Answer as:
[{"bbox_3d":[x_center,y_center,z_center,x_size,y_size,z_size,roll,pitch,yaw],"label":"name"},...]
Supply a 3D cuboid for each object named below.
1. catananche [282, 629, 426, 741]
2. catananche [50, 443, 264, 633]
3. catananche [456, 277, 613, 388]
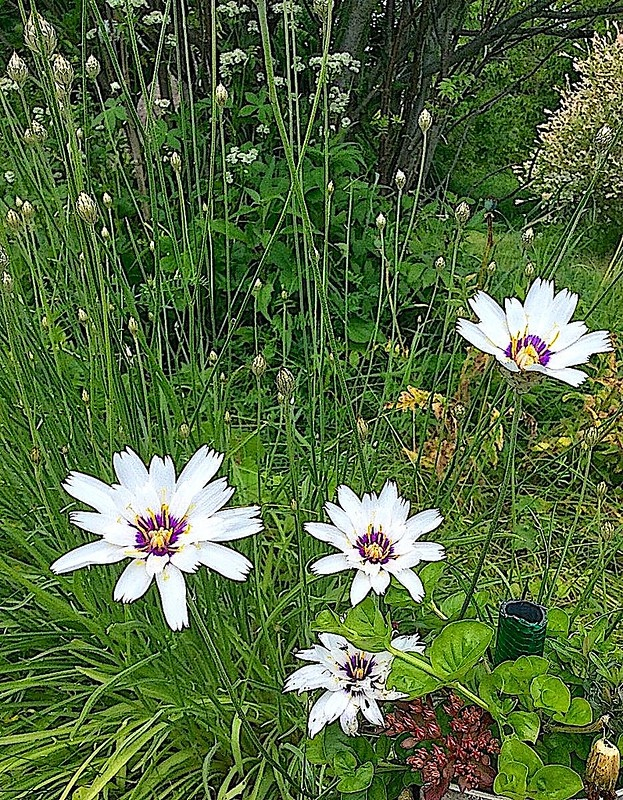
[{"bbox_3d":[0.044,0.430,1.088,0.170,0.193,0.143,3,38,-3],"label":"catananche"},{"bbox_3d":[-0.176,0.196,0.946,0.240,0.071,0.253,38,58,25],"label":"catananche"},{"bbox_3d":[0.294,-0.099,1.015,0.208,0.069,0.184,2,37,-5],"label":"catananche"}]
